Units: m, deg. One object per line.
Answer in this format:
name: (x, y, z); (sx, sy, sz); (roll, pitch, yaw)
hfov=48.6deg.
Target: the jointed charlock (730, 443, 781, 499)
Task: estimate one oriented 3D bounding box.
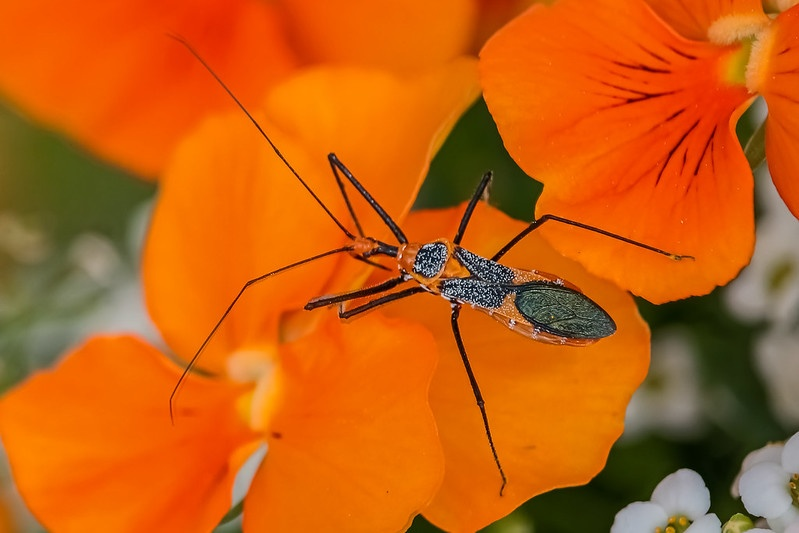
jointed charlock: (0.716, 0.409, 1.767); (0.085, 0.107, 0.025); (0, -12, 20)
